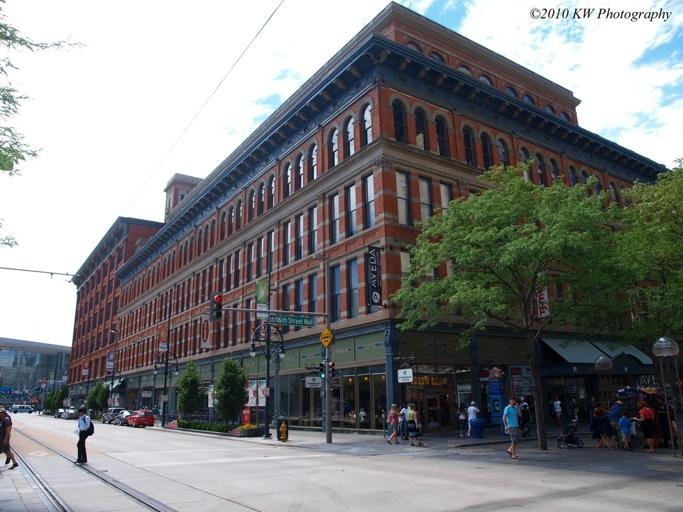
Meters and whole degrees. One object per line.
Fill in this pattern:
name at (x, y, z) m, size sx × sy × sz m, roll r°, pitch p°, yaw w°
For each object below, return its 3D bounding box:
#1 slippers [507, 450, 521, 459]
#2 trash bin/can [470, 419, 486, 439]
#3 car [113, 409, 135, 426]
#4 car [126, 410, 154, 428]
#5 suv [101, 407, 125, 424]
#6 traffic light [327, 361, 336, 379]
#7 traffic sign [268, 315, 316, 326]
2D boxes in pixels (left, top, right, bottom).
slippers at (6.909, 7.979, 21.379) m, size 0.385 × 0.293 × 0.986 m, roll -7°, pitch -20°, yaw 15°
trash bin/can at (7.441, 9.510, 29.136) m, size 0.970 × 1.026 × 0.950 m, roll 7°, pitch -21°, yaw -14°
car at (-22.432, 16.822, 55.275) m, size 1.593 × 1.148 × 3.589 m, roll 7°, pitch -15°, yaw -33°
car at (-19.345, 15.803, 51.479) m, size 1.549 × 1.088 × 3.384 m, roll 11°, pitch -17°, yaw -37°
suv at (-24.758, 17.529, 58.227) m, size 1.883 × 1.433 × 4.064 m, roll 8°, pitch -16°, yaw -30°
traffic light at (-0.535, 6.300, 29.337) m, size 0.332 × 0.851 × 0.575 m, roll 1°, pitch -20°, yaw -7°
traffic sign at (-2.661, 3.498, 29.361) m, size 3.023 × 0.645 × 0.721 m, roll 10°, pitch -22°, yaw -30°
